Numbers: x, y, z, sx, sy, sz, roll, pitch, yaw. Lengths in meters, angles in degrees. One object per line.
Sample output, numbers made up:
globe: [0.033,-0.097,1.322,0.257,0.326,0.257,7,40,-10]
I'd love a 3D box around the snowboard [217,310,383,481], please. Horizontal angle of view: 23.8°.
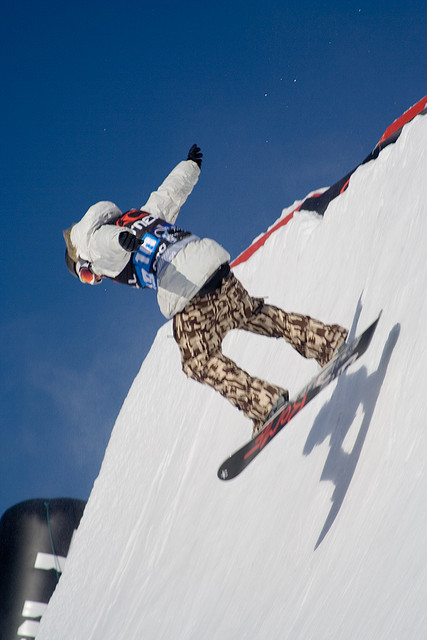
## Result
snowboard: [0.638,0.566,7.098,1.636,0.226,0.183,-49,43,-9]
